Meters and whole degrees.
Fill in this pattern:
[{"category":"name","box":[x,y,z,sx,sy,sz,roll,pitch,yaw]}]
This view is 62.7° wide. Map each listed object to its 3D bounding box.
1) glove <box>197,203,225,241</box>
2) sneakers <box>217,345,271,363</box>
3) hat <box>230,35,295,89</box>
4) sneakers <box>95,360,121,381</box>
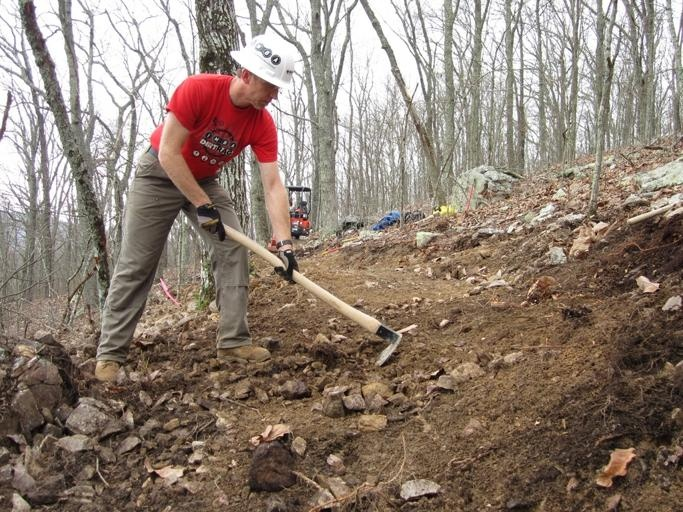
[{"category":"glove","box":[-1.022,-0.277,4.558,0.106,0.247,0.249,-38,-11,-15]},{"category":"sneakers","box":[-0.824,0.797,4.784,0.420,0.221,0.177,-2,-6,-3]},{"category":"hat","box":[-0.608,-1.507,4.353,0.459,0.405,0.309,-7,-2,-6]},{"category":"sneakers","box":[-1.848,0.905,4.449,0.186,0.127,0.266,-6,-3,-25]}]
